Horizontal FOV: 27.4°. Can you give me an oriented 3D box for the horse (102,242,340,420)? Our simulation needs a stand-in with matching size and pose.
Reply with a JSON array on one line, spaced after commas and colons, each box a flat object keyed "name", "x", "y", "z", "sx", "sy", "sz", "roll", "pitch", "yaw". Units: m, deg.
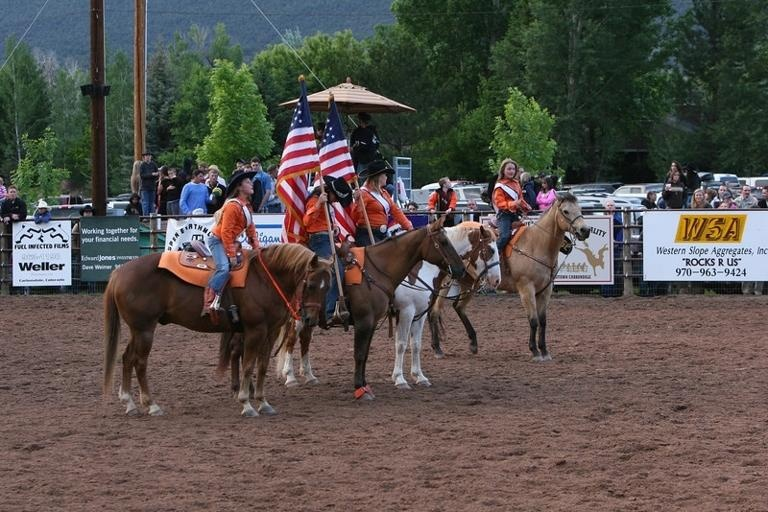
[{"name": "horse", "x": -7.863, "y": 3.763, "z": 77.756, "sx": 8.403, "sy": 5.898, "sz": 2.992, "roll": 1, "pitch": -9, "yaw": -3}]

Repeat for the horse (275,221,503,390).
[{"name": "horse", "x": -0.417, "y": 2.691, "z": 79.742, "sx": 12.150, "sy": 8.110, "sz": 3.358, "roll": -9, "pitch": 3, "yaw": 35}]

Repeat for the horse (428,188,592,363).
[{"name": "horse", "x": 6.362, "y": 1.186, "z": 82.827, "sx": 10.553, "sy": 8.109, "sz": 3.204, "roll": -3, "pitch": -2, "yaw": 39}]
